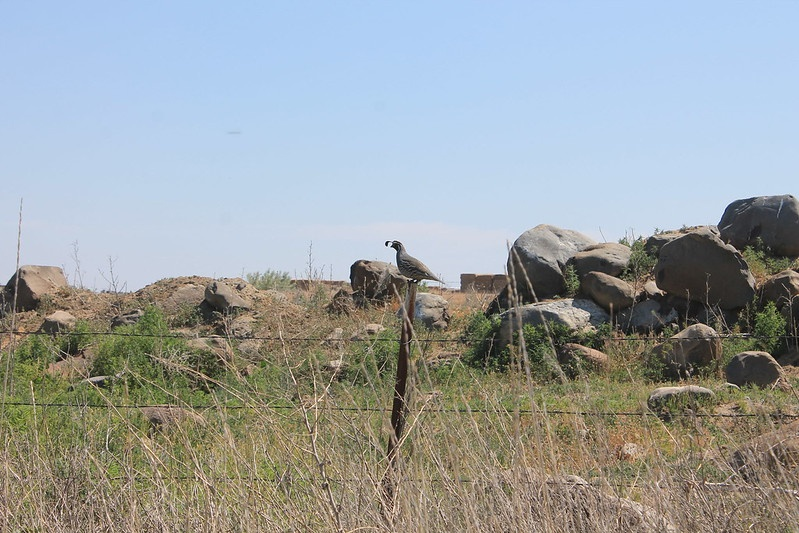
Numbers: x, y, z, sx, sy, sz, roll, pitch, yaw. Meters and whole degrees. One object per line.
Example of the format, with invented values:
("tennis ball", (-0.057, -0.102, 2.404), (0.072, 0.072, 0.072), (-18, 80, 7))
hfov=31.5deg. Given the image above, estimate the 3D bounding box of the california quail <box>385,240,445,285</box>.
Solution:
("california quail", (0.220, -0.066, 23.048), (0.982, 0.704, 0.328), (9, 8, 23))
